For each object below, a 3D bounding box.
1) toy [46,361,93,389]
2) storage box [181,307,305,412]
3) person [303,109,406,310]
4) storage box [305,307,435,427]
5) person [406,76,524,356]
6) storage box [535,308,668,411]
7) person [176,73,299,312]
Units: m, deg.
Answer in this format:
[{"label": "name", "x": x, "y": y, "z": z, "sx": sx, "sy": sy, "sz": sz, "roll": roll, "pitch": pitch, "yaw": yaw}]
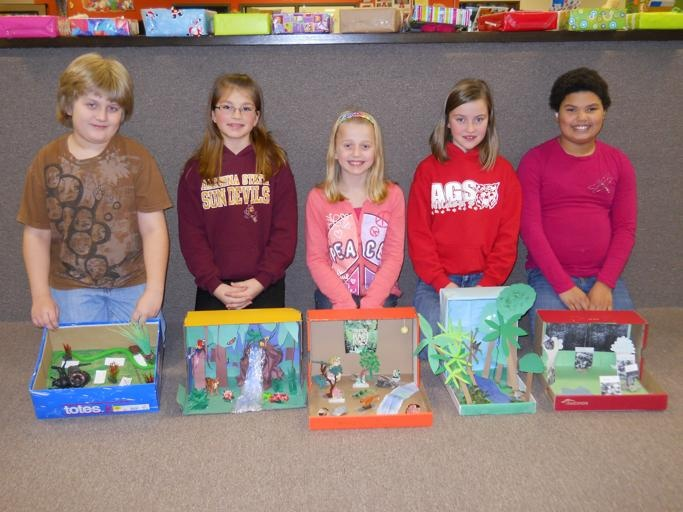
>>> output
[{"label": "toy", "x": -1.053, "y": 0.460, "z": 2.522, "sx": 0.154, "sy": 0.071, "sz": 0.128, "roll": -7, "pitch": 17, "yaw": -16}, {"label": "storage box", "x": -0.340, "y": 0.440, "z": 2.560, "sx": 0.512, "sy": 0.346, "sz": 0.164, "roll": -5, "pitch": -12, "yaw": 18}, {"label": "person", "x": 0.052, "y": -0.184, "z": 2.735, "sx": 0.422, "sy": 0.815, "sz": 0.326, "roll": -1, "pitch": 18, "yaw": 4}, {"label": "storage box", "x": 0.096, "y": 0.428, "z": 2.525, "sx": 0.621, "sy": 0.370, "sz": 0.409, "roll": -1, "pitch": 18, "yaw": -3}, {"label": "person", "x": 0.539, "y": -0.068, "z": 2.906, "sx": 0.502, "sy": 1.282, "sz": 0.427, "roll": 3, "pitch": 12, "yaw": 4}, {"label": "storage box", "x": 0.963, "y": 0.394, "z": 2.464, "sx": 0.417, "sy": 0.222, "sz": 0.366, "roll": 1, "pitch": 21, "yaw": 5}, {"label": "person", "x": -0.451, "y": -0.258, "z": 2.726, "sx": 0.511, "sy": 0.973, "sz": 0.386, "roll": -3, "pitch": 18, "yaw": -4}]
